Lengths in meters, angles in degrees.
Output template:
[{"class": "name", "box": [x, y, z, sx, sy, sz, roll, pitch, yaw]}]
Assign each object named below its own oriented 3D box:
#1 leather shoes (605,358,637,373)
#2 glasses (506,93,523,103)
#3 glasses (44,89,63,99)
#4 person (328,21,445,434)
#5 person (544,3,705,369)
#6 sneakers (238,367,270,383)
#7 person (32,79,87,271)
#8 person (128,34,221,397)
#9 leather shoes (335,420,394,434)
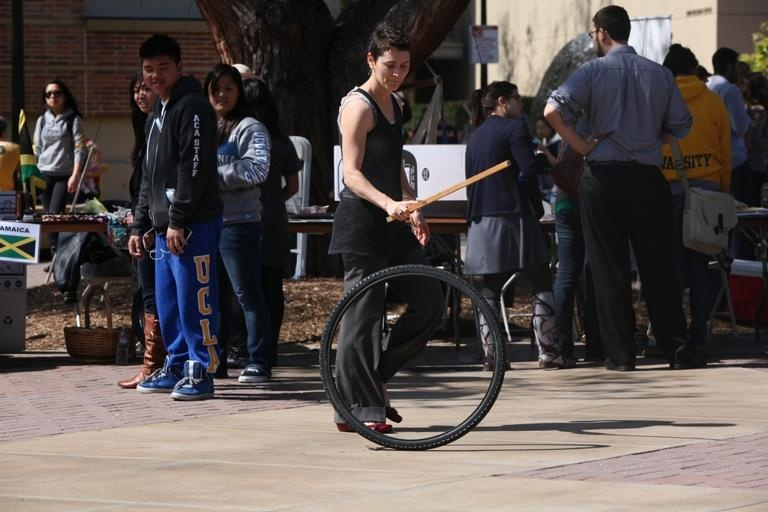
[{"class": "leather shoes", "box": [2.265, 1.040, 13.343, 0.107, 0.112, 0.283, -4, 6, -44]}, {"class": "glasses", "box": [1.268, -1.541, 13.442, 0.122, 0.093, 0.090, 12, -2, 9]}, {"class": "glasses", "box": [-4.521, -2.206, 18.984, 0.339, 0.105, 0.188, 1, 1, 33]}, {"class": "person", "box": [0.000, -0.220, 11.020, 0.851, 3.263, 0.504, 0, 1, -3]}, {"class": "person", "box": [2.287, -0.640, 13.160, 1.277, 3.451, 0.484, 0, 1, 8]}, {"class": "sneakers", "box": [-1.190, 1.106, 13.018, 0.332, 0.126, 0.118, 5, 1, -10]}, {"class": "person", "box": [-4.458, -1.516, 19.299, 0.651, 1.815, 0.945, 0, 1, -18]}, {"class": "person", "box": [-1.860, -0.352, 12.411, 0.897, 3.241, 0.512, 1, 1, 40]}, {"class": "leather shoes", "box": [-0.147, 1.349, 11.079, 0.444, 0.154, 0.152, -3, 4, 6]}]
